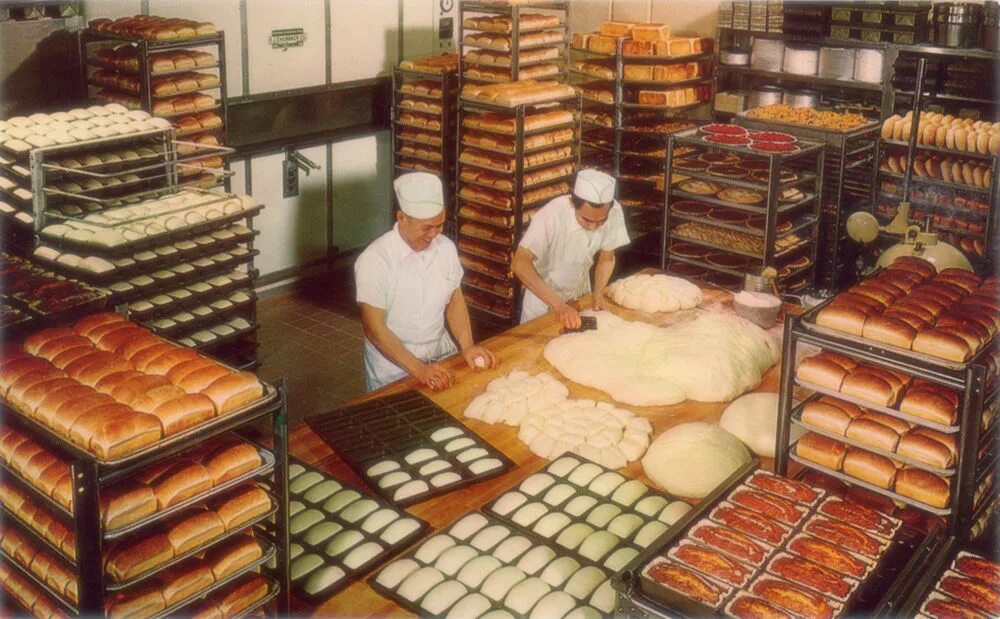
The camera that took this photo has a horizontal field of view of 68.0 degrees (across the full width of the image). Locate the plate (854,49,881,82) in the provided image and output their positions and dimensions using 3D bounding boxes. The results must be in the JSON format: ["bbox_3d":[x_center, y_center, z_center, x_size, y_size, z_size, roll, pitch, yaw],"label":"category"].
[{"bbox_3d":[3.941,-2.598,7.899,0.345,0.303,0.091,5,12,38],"label":"plate"}]

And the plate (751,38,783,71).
[{"bbox_3d":[3.008,-2.900,8.471,0.422,0.340,0.362,0,26,1],"label":"plate"}]

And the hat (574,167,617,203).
[{"bbox_3d":[0.670,-0.903,5.445,0.269,0.113,0.303,-4,37,-13],"label":"hat"}]

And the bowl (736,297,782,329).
[{"bbox_3d":[1.834,0.036,5.247,0.246,0.120,0.227,-2,19,1],"label":"bowl"}]

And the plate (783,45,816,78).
[{"bbox_3d":[3.323,-2.743,8.206,0.385,0.237,0.352,1,16,4],"label":"plate"}]
